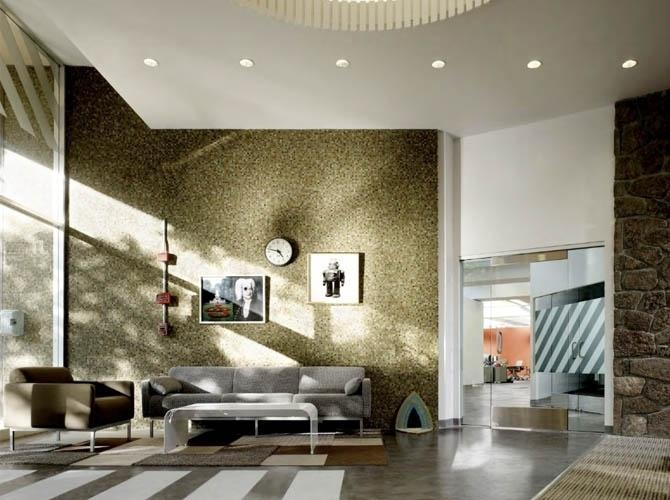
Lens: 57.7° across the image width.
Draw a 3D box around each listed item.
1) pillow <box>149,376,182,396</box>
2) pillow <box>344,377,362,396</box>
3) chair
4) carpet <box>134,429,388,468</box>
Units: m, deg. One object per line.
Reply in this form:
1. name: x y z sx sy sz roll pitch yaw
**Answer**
1. pillow: -2.357 1.903 8.584 0.289 0.090 0.289 9 10 -36
2. pillow: 0.257 1.909 8.515 0.240 0.238 0.186 0 -12 1
3. chair: -3.354 1.934 7.834 1.168 1.012 1.288 -1 -7 8
4. carpet: -0.754 2.395 7.408 2.733 0.250 1.553 0 -12 0
